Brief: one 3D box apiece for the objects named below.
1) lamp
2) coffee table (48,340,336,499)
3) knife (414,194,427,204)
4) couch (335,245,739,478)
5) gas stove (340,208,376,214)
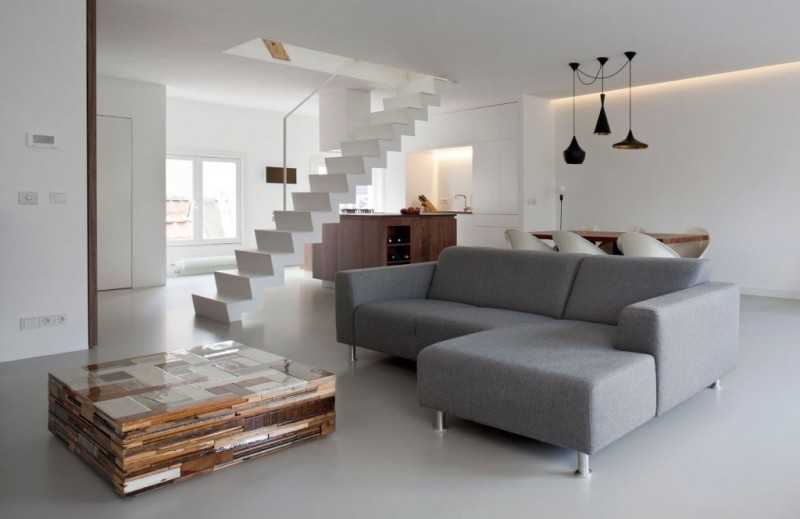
[{"bbox_3d":[3.320,-2.421,8.889,0.557,1.365,1.391,-10,11,-36],"label":"lamp"},{"bbox_3d":[-1.593,1.057,4.219,1.499,0.432,1.622,7,6,38],"label":"coffee table"},{"bbox_3d":[0.504,-1.279,11.728,0.191,0.163,0.240,-7,9,-42],"label":"knife"},{"bbox_3d":[1.007,0.630,4.536,2.814,1.290,1.701,3,8,30],"label":"couch"},{"bbox_3d":[-0.842,-1.038,11.742,0.566,0.074,1.255,-1,6,1],"label":"gas stove"}]
